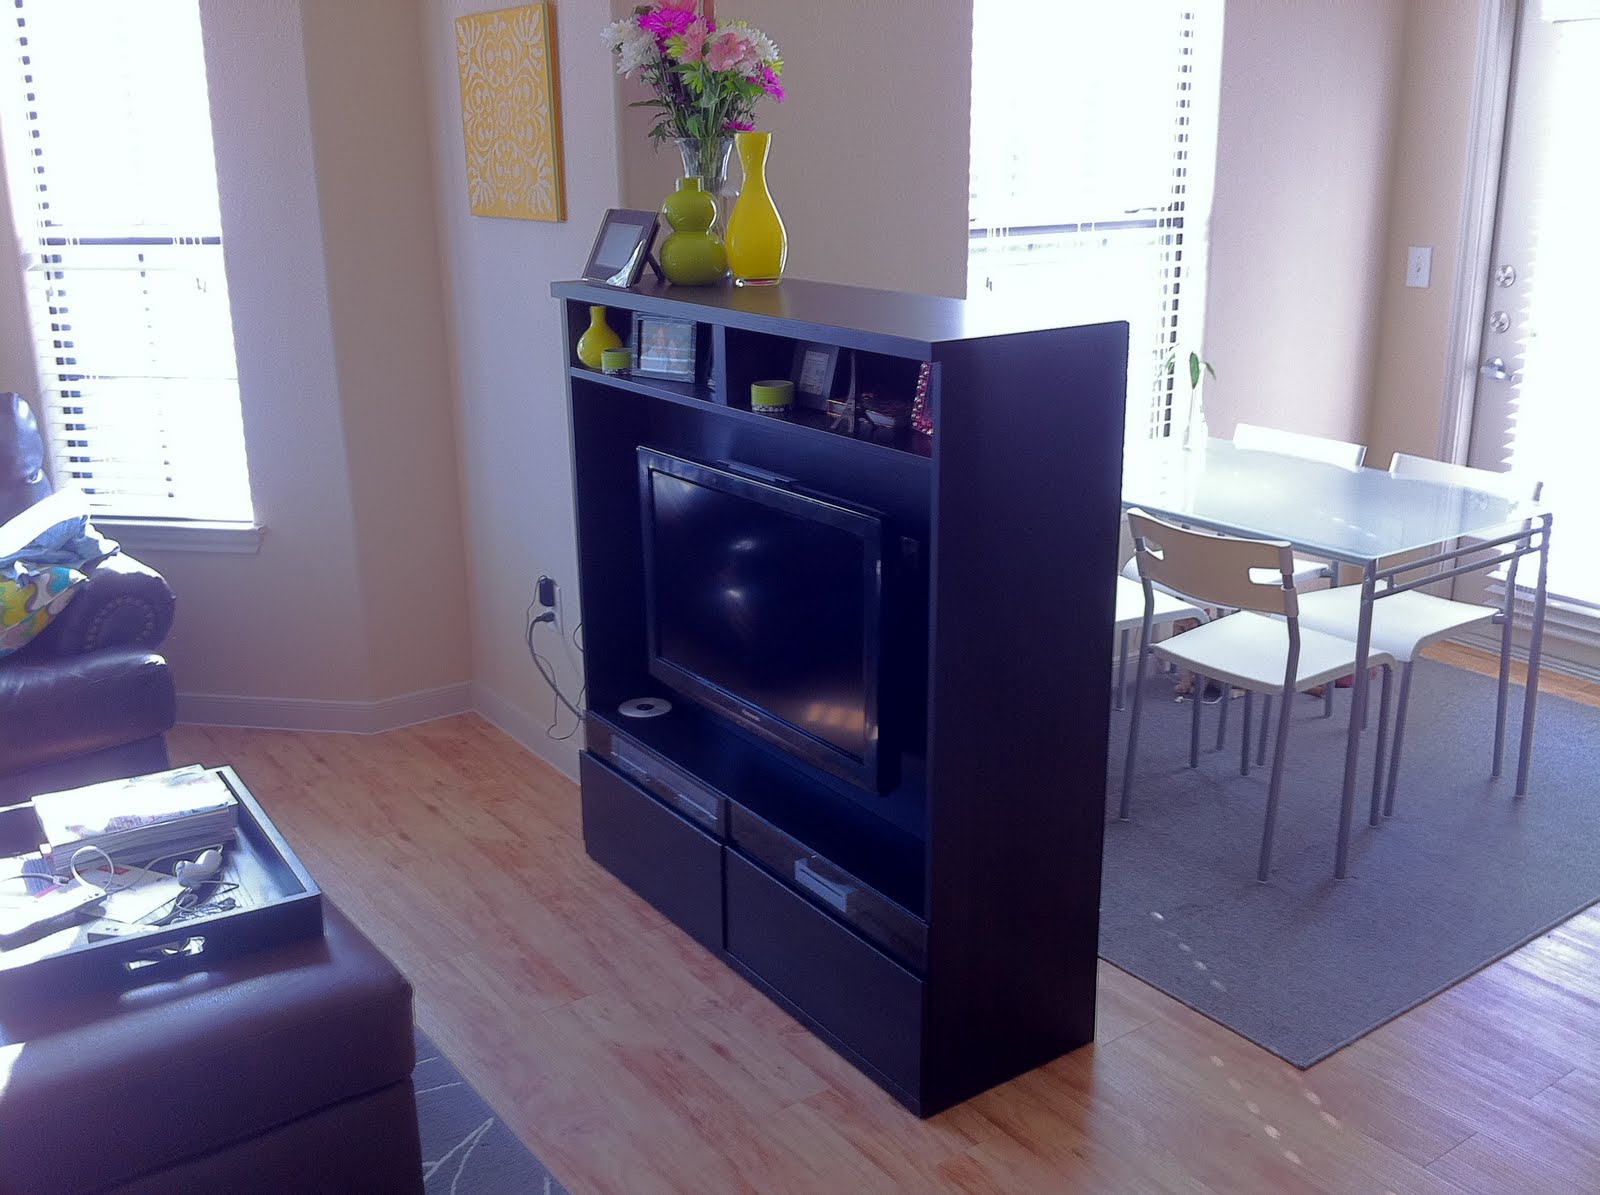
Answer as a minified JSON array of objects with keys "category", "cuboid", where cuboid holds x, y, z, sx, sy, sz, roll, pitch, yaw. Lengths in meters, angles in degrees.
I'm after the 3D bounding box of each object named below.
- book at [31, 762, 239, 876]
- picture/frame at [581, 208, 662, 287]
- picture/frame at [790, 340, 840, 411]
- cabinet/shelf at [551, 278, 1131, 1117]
[{"category":"book","cuboid":[-1.375,0.461,2.545,0.237,0.060,0.243,-11,21,-31]},{"category":"picture/frame","cuboid":[-0.464,-0.912,3.188,0.136,0.249,0.236,-6,22,-39]},{"category":"picture/frame","cuboid":[0.031,-0.486,2.693,0.014,0.190,0.153,0,5,-33]},{"category":"cabinet/shelf","cuboid":[0.088,0.256,2.803,0.508,1.682,1.432,-13,25,-29]}]
